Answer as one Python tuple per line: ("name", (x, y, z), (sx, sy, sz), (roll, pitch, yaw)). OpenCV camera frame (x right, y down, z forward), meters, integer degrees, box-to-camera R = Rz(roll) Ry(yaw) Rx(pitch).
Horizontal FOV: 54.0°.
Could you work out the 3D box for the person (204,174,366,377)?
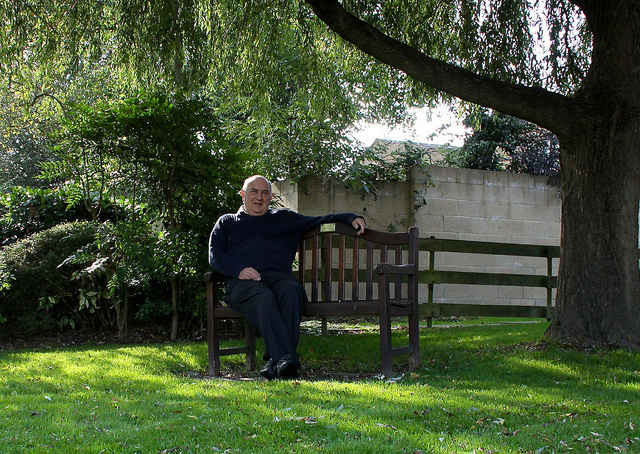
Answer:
("person", (-0.481, 0.460, 6.602), (1.249, 2.059, 0.852), (-3, -7, 33))
